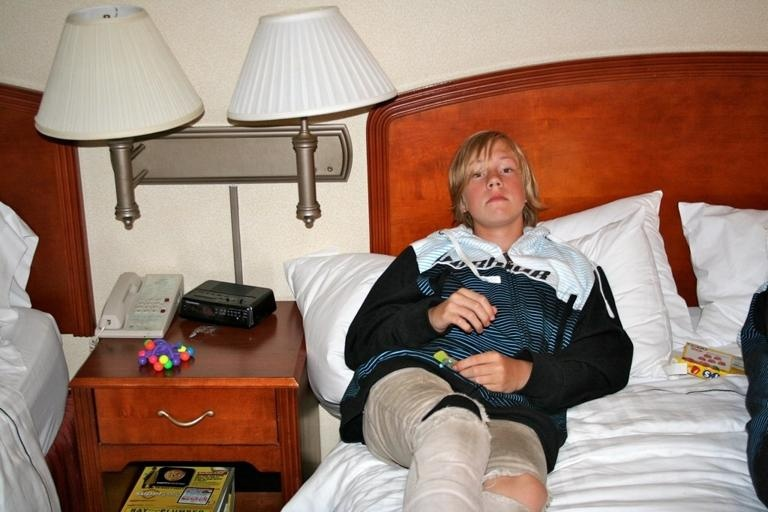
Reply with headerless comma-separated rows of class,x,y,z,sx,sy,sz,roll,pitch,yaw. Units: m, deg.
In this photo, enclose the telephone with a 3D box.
telephone,-0.896,0.174,2.111,0.248,0.105,0.288,2,36,-1
